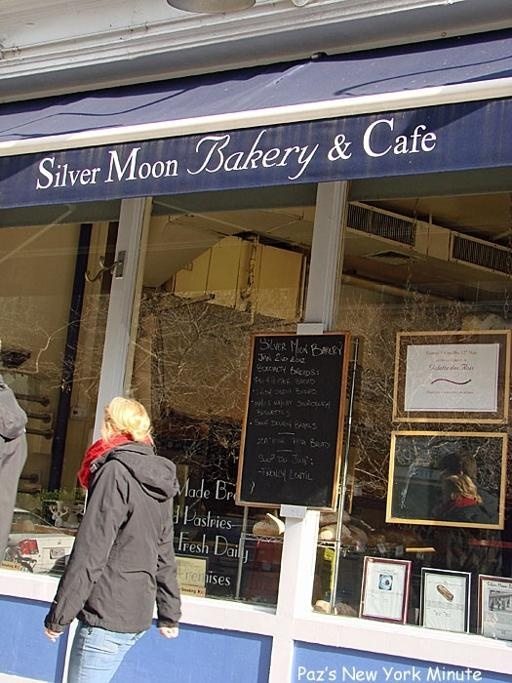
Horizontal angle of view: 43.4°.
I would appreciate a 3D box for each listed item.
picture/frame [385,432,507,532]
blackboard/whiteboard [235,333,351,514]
[{"bbox_3d":[1.017,0.751,3.364,0.633,0.471,0.025,1,-16,27],"label":"picture/frame"},{"bbox_3d":[0.198,0.445,3.615,0.613,1.000,0.113,-1,-15,36],"label":"blackboard/whiteboard"}]
